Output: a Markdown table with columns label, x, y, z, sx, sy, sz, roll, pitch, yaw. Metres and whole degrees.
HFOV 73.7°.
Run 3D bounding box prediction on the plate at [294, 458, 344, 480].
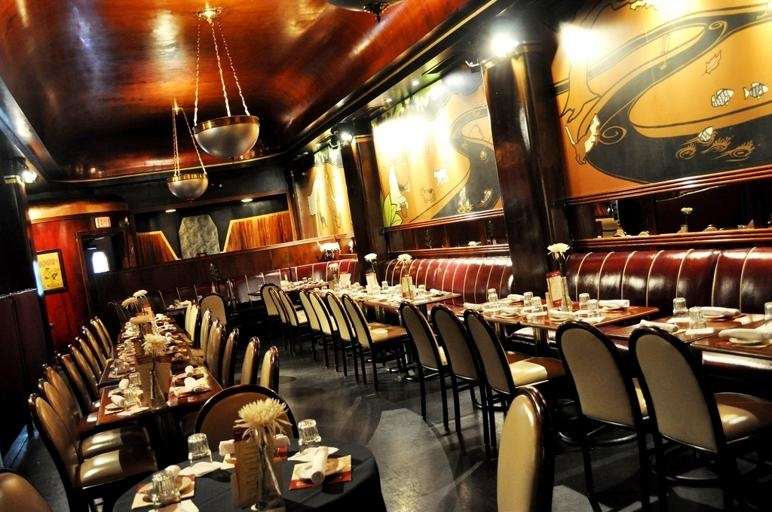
| label | x | y | z | sx | sy | sz | roll | pitch | yaw |
| --- | --- | --- | --- | --- | --- | --- | --- | --- | --- |
| plate | -0.383 | 1.250 | 3.036 | 0.337 | 0.044 | 0.128 | -10 | 7 | -8 |

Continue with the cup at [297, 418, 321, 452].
| label | x | y | z | sx | sy | sz | roll | pitch | yaw |
| --- | --- | --- | --- | --- | --- | --- | --- | --- | --- |
| cup | -0.481 | 1.106 | 3.318 | 0.180 | 0.176 | 0.180 | -6 | 7 | 1 |

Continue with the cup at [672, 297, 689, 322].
| label | x | y | z | sx | sy | sz | roll | pitch | yaw |
| --- | --- | --- | --- | --- | --- | --- | --- | --- | --- |
| cup | 2.433 | 0.432 | 4.222 | 0.093 | 0.162 | 0.179 | -4 | 8 | 31 |

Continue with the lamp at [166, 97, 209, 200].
| label | x | y | z | sx | sy | sz | roll | pitch | yaw |
| --- | --- | --- | --- | --- | --- | --- | --- | --- | --- |
| lamp | -4.511 | -2.517 | 11.577 | 0.912 | 2.686 | 0.966 | 5 | -39 | -28 |
